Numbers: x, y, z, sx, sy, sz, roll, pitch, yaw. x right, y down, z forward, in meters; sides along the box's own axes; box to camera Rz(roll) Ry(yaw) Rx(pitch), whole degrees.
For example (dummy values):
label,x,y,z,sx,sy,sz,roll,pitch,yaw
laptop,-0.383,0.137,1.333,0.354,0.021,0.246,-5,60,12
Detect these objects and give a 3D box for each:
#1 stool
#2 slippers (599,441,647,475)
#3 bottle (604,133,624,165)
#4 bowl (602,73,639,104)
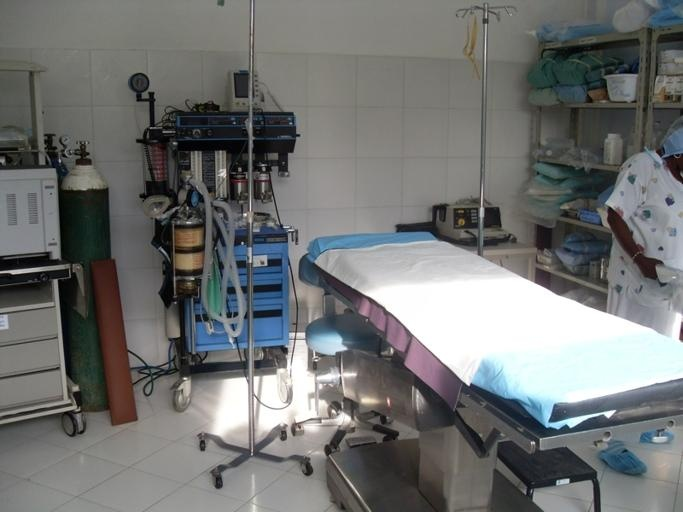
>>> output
label,x,y,z,sx,sy,sz,roll,pitch,yaw
stool,0.026,0.806,3.729,0.590,0.803,0.669,0,8,10
slippers,1.637,1.209,3.389,0.179,0.096,0.309,13,2,-14
bottle,1.991,-0.785,4.198,0.121,0.218,0.124,-3,12,1
bowl,1.924,-1.139,3.973,0.187,0.151,0.187,0,5,0
